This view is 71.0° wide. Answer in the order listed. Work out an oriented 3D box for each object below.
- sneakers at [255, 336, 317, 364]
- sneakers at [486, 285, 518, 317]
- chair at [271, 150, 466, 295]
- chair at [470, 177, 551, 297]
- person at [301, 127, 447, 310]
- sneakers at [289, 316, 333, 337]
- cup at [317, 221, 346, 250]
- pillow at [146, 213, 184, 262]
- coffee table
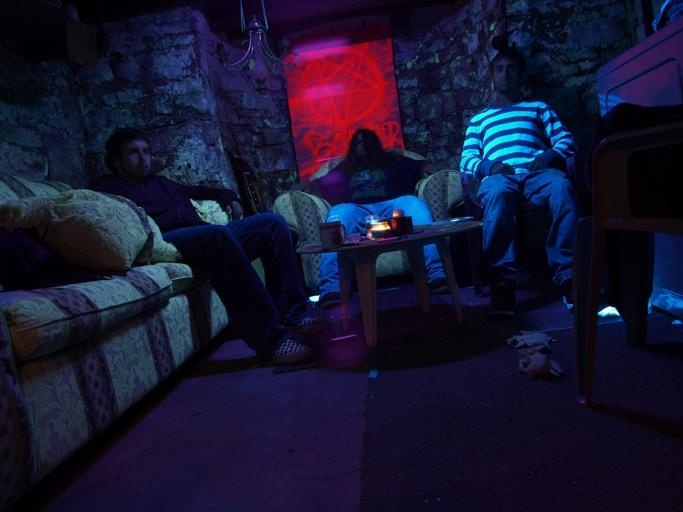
[{"bbox_3d":[-0.252,0.419,2.162,0.242,0.101,0.100,-9,-5,18],"label":"sneakers"},{"bbox_3d":[0.797,0.227,2.338,0.156,0.158,0.114,-3,0,24],"label":"sneakers"},{"bbox_3d":[-0.061,-0.145,3.312,0.805,0.743,0.688,-14,0,-14],"label":"chair"},{"bbox_3d":[1.050,-0.137,2.799,0.383,0.672,0.401,1,-9,15],"label":"chair"},{"bbox_3d":[0.187,-0.340,3.358,1.036,1.343,1.194,-7,-3,12],"label":"person"},{"bbox_3d":[-0.153,0.343,2.370,0.192,0.080,0.081,-11,1,16],"label":"sneakers"},{"bbox_3d":[-0.041,-0.099,2.173,0.115,0.114,0.199,-9,10,-1],"label":"cup"},{"bbox_3d":[-0.836,-0.081,2.241,0.126,0.223,0.082,-16,10,-37],"label":"pillow"},{"bbox_3d":[0.252,0.108,2.286,0.768,0.467,0.731,-8,2,-25],"label":"coffee table"}]
